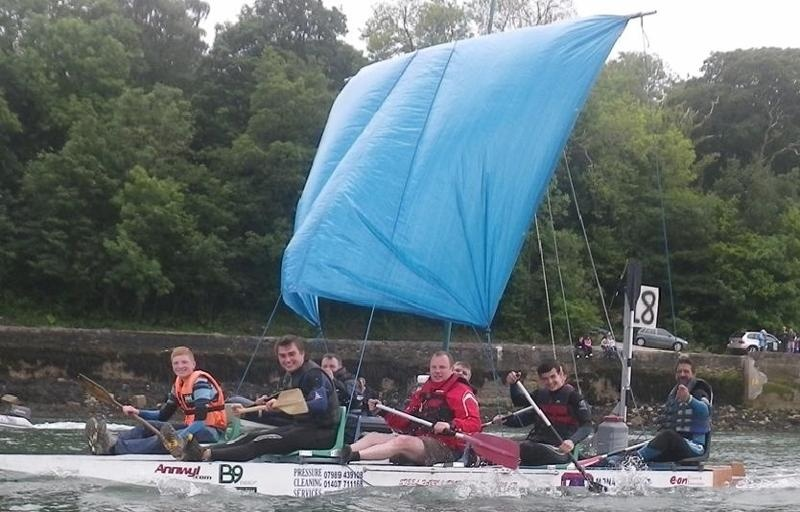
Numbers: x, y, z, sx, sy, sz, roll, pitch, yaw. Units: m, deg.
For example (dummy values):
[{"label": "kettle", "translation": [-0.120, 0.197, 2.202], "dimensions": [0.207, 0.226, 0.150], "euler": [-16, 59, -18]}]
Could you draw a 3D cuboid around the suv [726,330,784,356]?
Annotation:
[{"label": "suv", "translation": [20.151, 4.838, 62.703], "dimensions": [2.229, 1.257, 1.446], "euler": [-3, 0, -18]}]

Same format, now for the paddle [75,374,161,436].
[{"label": "paddle", "translation": [-10.410, 5.654, 41.448], "dimensions": [4.299, 0.298, 0.537], "euler": [39, 20, -25]}]

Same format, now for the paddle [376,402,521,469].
[{"label": "paddle", "translation": [1.657, 6.776, 41.331], "dimensions": [5.430, 1.108, 0.269], "euler": [21, -12, 2]}]

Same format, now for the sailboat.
[{"label": "sailboat", "translation": [1.935, -3.101, 50.278], "dimensions": [16.871, 20.158, 18.462], "euler": [20, -15, -33]}]

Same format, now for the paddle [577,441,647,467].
[{"label": "paddle", "translation": [8.118, 7.560, 42.065], "dimensions": [2.864, 0.678, 0.382], "euler": [-9, 14, -14]}]
